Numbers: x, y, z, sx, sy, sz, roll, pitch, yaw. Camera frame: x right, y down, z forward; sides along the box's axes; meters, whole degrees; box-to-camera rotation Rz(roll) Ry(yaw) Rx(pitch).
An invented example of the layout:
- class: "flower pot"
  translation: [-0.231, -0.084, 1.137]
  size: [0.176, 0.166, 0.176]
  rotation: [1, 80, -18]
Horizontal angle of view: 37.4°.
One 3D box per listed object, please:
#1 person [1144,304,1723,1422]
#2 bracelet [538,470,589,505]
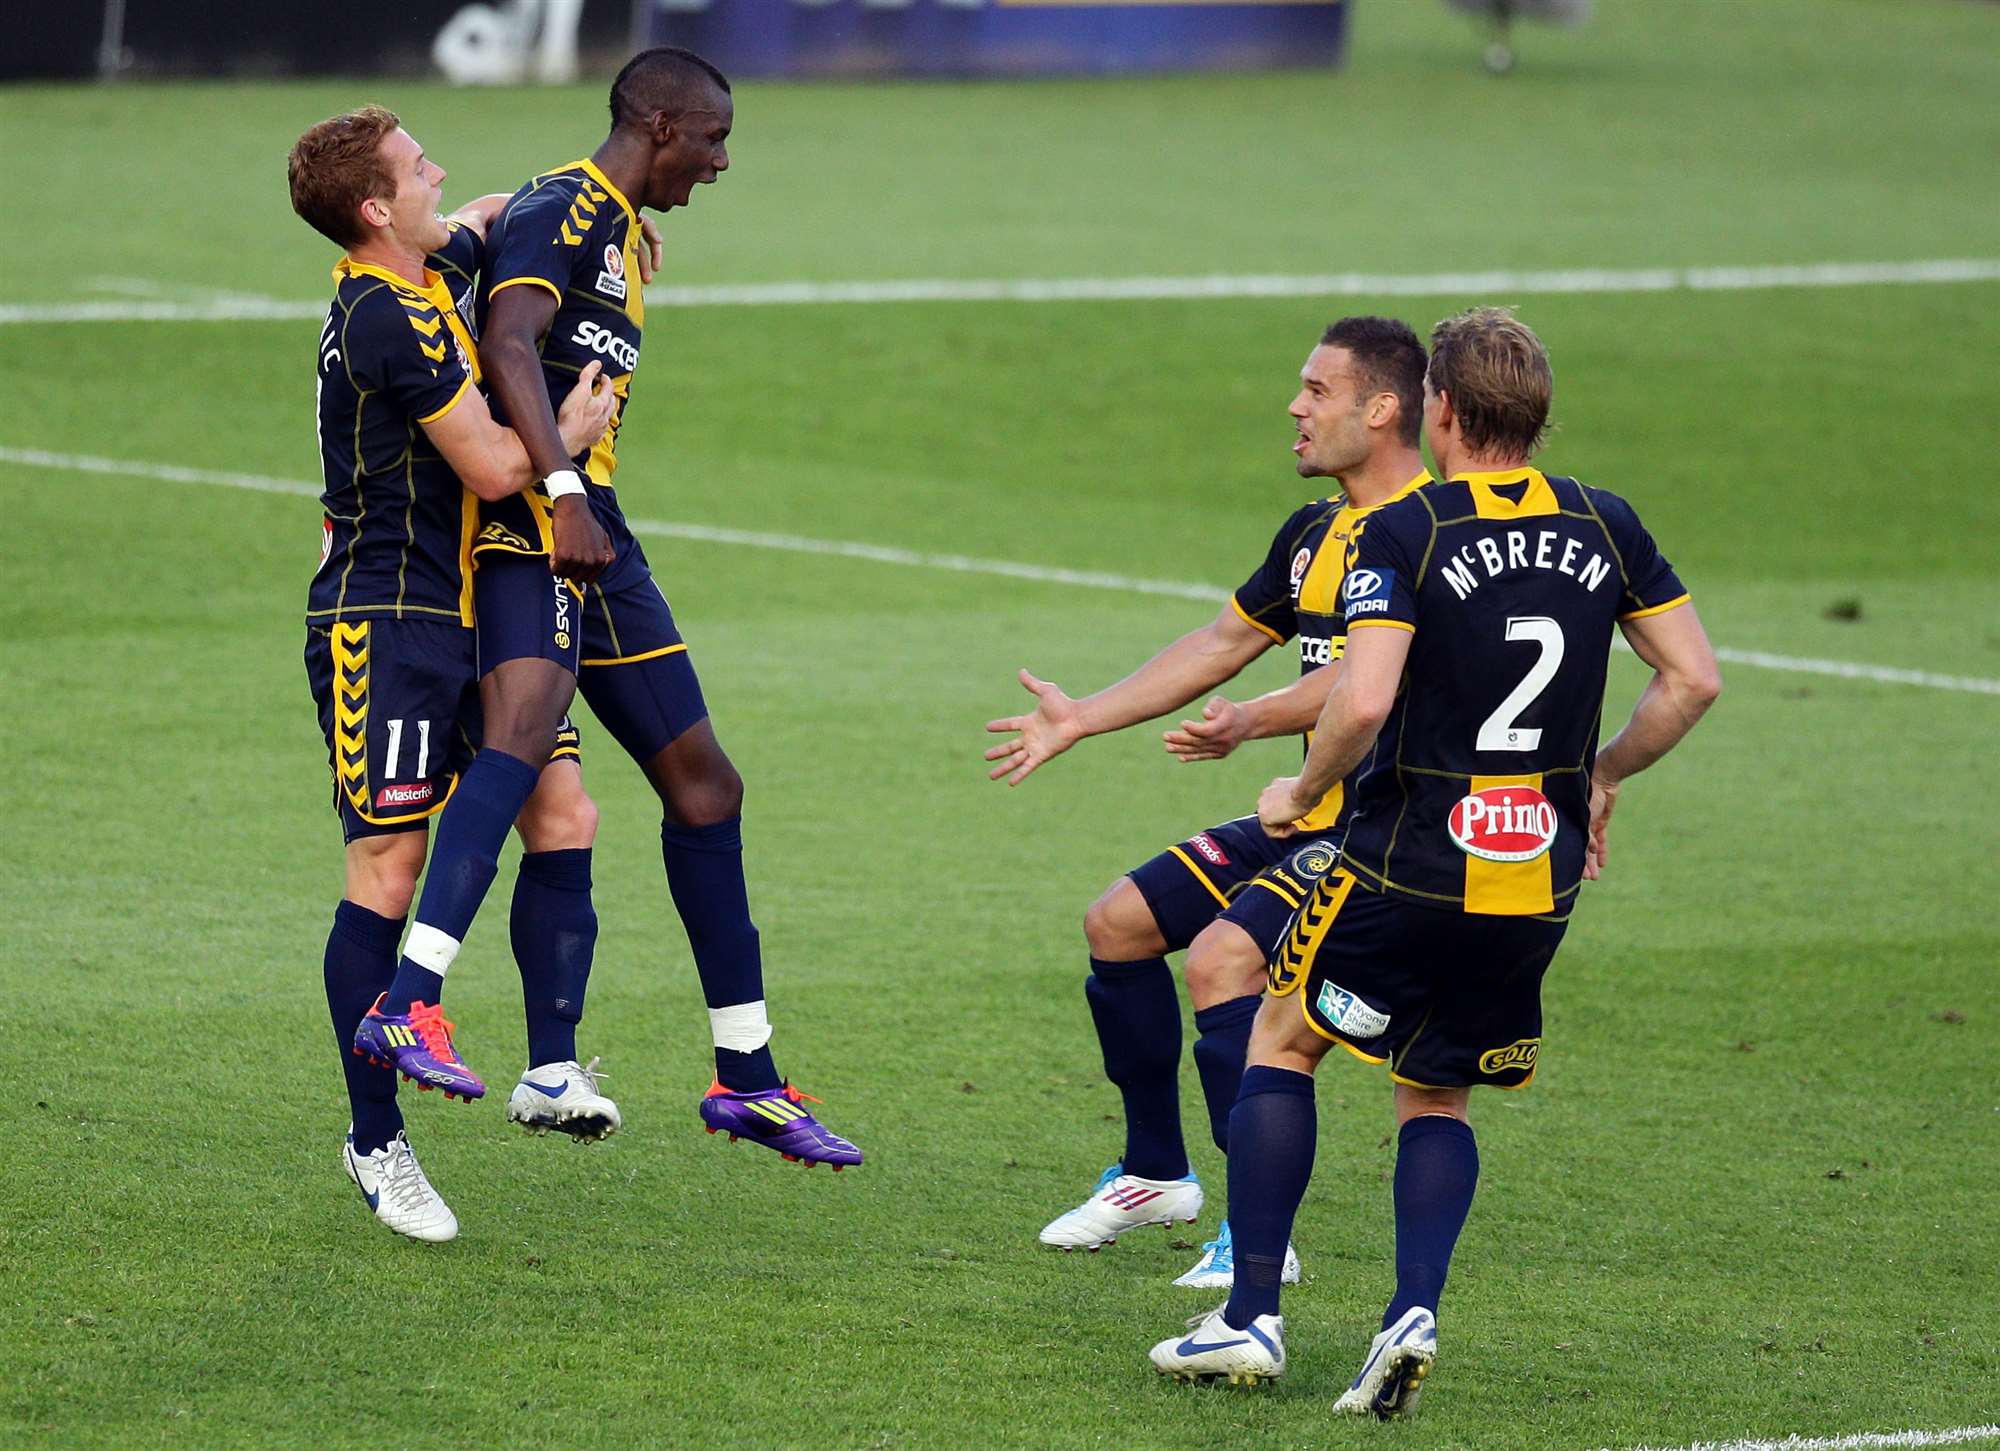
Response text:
- class: "person"
  translation: [1.139, 0.337, 7.581]
  size: [0.891, 2.722, 1.171]
  rotation: [13, 16, 31]
- class: "bracelet"
  translation: [-1.160, -0.643, 8.005]
  size: [0.094, 0.086, 0.089]
  rotation: [-4, 29, -19]
